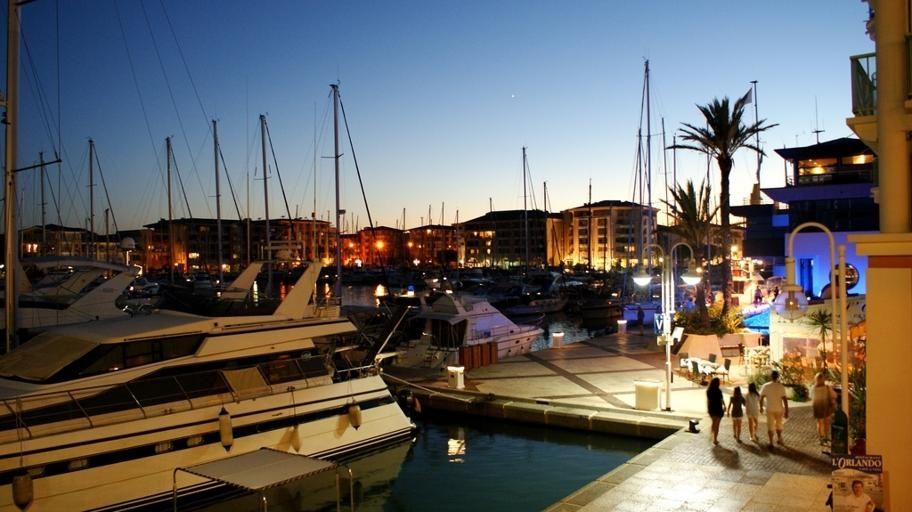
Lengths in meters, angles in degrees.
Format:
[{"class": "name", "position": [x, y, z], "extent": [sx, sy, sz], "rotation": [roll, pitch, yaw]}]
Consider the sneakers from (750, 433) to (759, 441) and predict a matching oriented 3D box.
[{"class": "sneakers", "position": [11.164, 6.713, 27.295], "extent": [0.263, 0.259, 0.344], "rotation": [4, 6, 10]}]

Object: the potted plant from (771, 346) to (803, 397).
[{"class": "potted plant", "position": [14.388, 5.026, 31.695], "extent": [1.499, 1.975, 1.778], "rotation": [-2, 1, -17]}]

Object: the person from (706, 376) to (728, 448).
[{"class": "person", "position": [9.712, 5.729, 27.501], "extent": [0.604, 2.347, 0.844], "rotation": [5, 6, 20]}]
